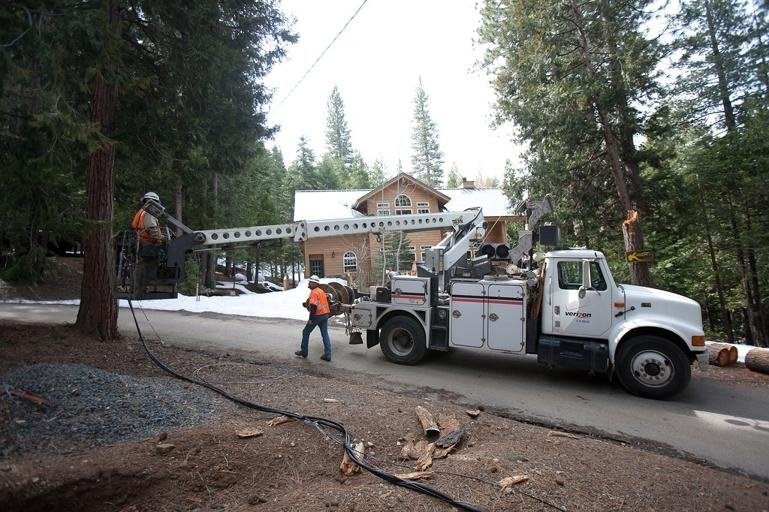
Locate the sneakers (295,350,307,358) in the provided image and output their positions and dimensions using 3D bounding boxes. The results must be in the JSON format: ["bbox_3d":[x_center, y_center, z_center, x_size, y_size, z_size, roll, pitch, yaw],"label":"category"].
[{"bbox_3d":[-2.406,2.804,14.744,0.343,0.190,0.156,8,-1,14],"label":"sneakers"}]

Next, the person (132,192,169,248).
[{"bbox_3d":[-5.612,-0.921,12.203,0.644,1.222,0.717,0,4,-41],"label":"person"}]
